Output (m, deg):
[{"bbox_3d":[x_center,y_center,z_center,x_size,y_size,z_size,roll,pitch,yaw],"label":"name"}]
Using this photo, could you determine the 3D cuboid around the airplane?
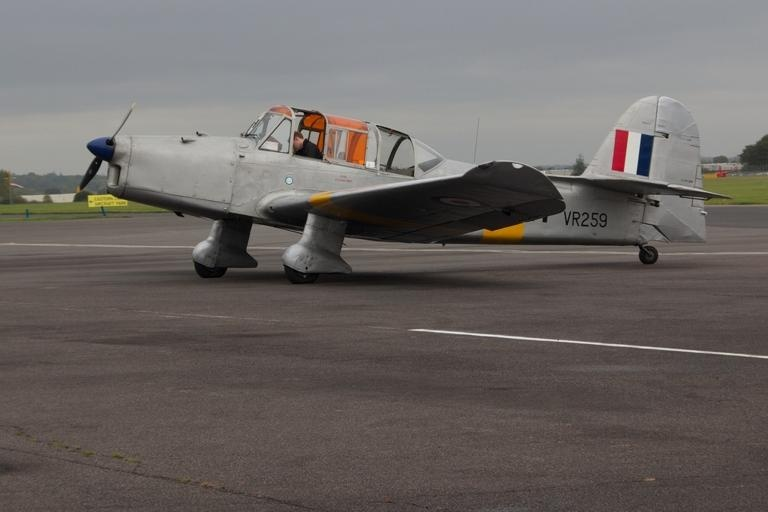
[{"bbox_3d":[1.013,-1.065,10.169,7.625,1.608,6.834,4,-1,-25],"label":"airplane"}]
